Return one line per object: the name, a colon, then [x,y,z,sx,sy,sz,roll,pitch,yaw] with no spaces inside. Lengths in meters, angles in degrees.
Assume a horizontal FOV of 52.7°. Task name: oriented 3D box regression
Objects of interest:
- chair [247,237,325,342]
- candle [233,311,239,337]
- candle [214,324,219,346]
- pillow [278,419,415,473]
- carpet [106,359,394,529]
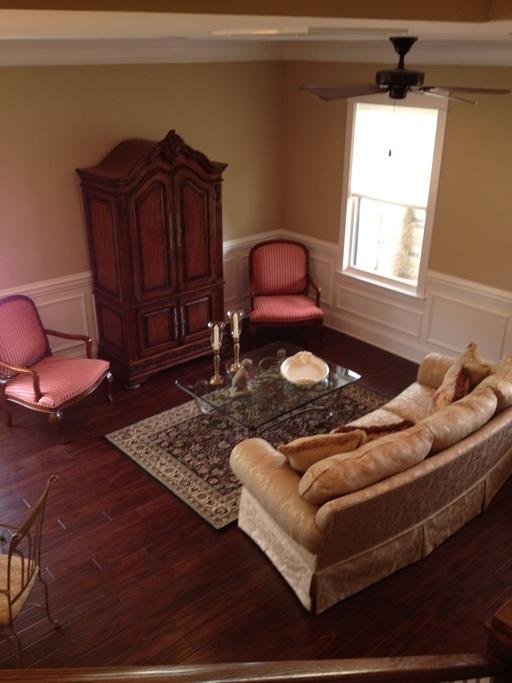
chair: [0.301,-0.489,5.781,0.821,1.135,0.795,-2,26,-4]
candle: [-0.160,-0.127,4.066,0.056,0.154,0.137,-5,2,-1]
candle: [-0.309,-0.037,3.952,0.053,0.128,0.089,-5,2,-4]
pillow: [0.464,0.583,3.007,0.458,0.129,0.387,-18,10,-14]
carpet: [-0.151,0.812,4.287,1.509,0.030,2.130,-22,18,-26]
